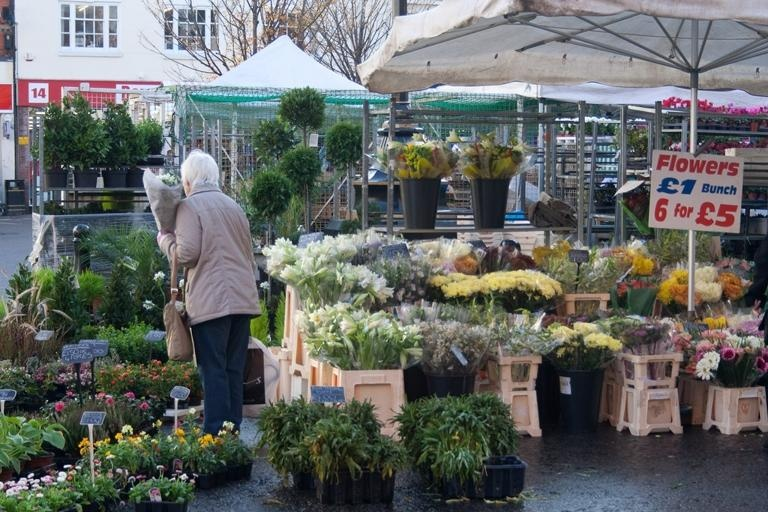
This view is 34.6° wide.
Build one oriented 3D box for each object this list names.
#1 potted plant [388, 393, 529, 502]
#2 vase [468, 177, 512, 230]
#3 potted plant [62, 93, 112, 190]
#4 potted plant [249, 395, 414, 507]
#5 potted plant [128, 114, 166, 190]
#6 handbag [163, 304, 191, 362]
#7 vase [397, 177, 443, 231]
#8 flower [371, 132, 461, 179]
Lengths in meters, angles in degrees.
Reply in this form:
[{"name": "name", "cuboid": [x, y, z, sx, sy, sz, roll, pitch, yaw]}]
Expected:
[{"name": "potted plant", "cuboid": [0.768, 1.782, 11.671, 0.919, 0.798, 1.015, 0, -3, -10]}, {"name": "vase", "cuboid": [1.238, -0.617, 14.258, 0.448, 0.586, 0.362, -1, 4, 4]}, {"name": "potted plant", "cuboid": [-4.256, -1.676, 17.695, 0.582, 1.367, 0.699, -3, 4, -25]}, {"name": "potted plant", "cuboid": [-0.515, 1.820, 11.957, 1.043, 0.798, 0.993, 1, -2, -2]}, {"name": "potted plant", "cuboid": [-3.597, -1.446, 18.358, 0.525, 0.777, 0.358, 11, -6, 15]}, {"name": "handbag", "cuboid": [-2.033, 0.742, 12.269, 0.284, 0.700, 0.556, -7, -6, -15]}, {"name": "vase", "cuboid": [0.426, -0.592, 14.019, 0.475, 0.588, 0.529, 1, 4, 5]}, {"name": "flower", "cuboid": [0.404, -1.098, 13.965, 0.517, 0.340, 0.568, 2, -3, -20]}]
